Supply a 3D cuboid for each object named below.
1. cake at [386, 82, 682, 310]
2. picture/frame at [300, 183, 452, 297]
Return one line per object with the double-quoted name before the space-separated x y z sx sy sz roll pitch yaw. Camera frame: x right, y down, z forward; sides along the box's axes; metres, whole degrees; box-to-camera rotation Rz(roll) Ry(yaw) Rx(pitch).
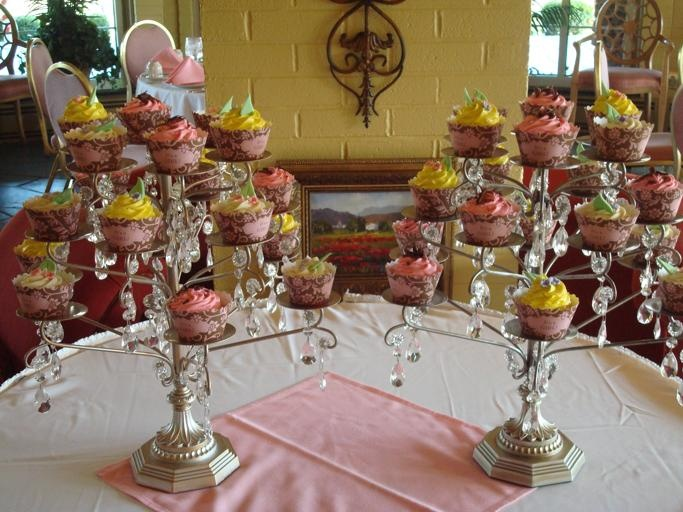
"cake" 0.425 -0.203 1.363 0.386 0.552 0.515 14 24 39
"picture/frame" 0.093 -0.082 2.017 0.451 0.502 0.044 0 14 1
